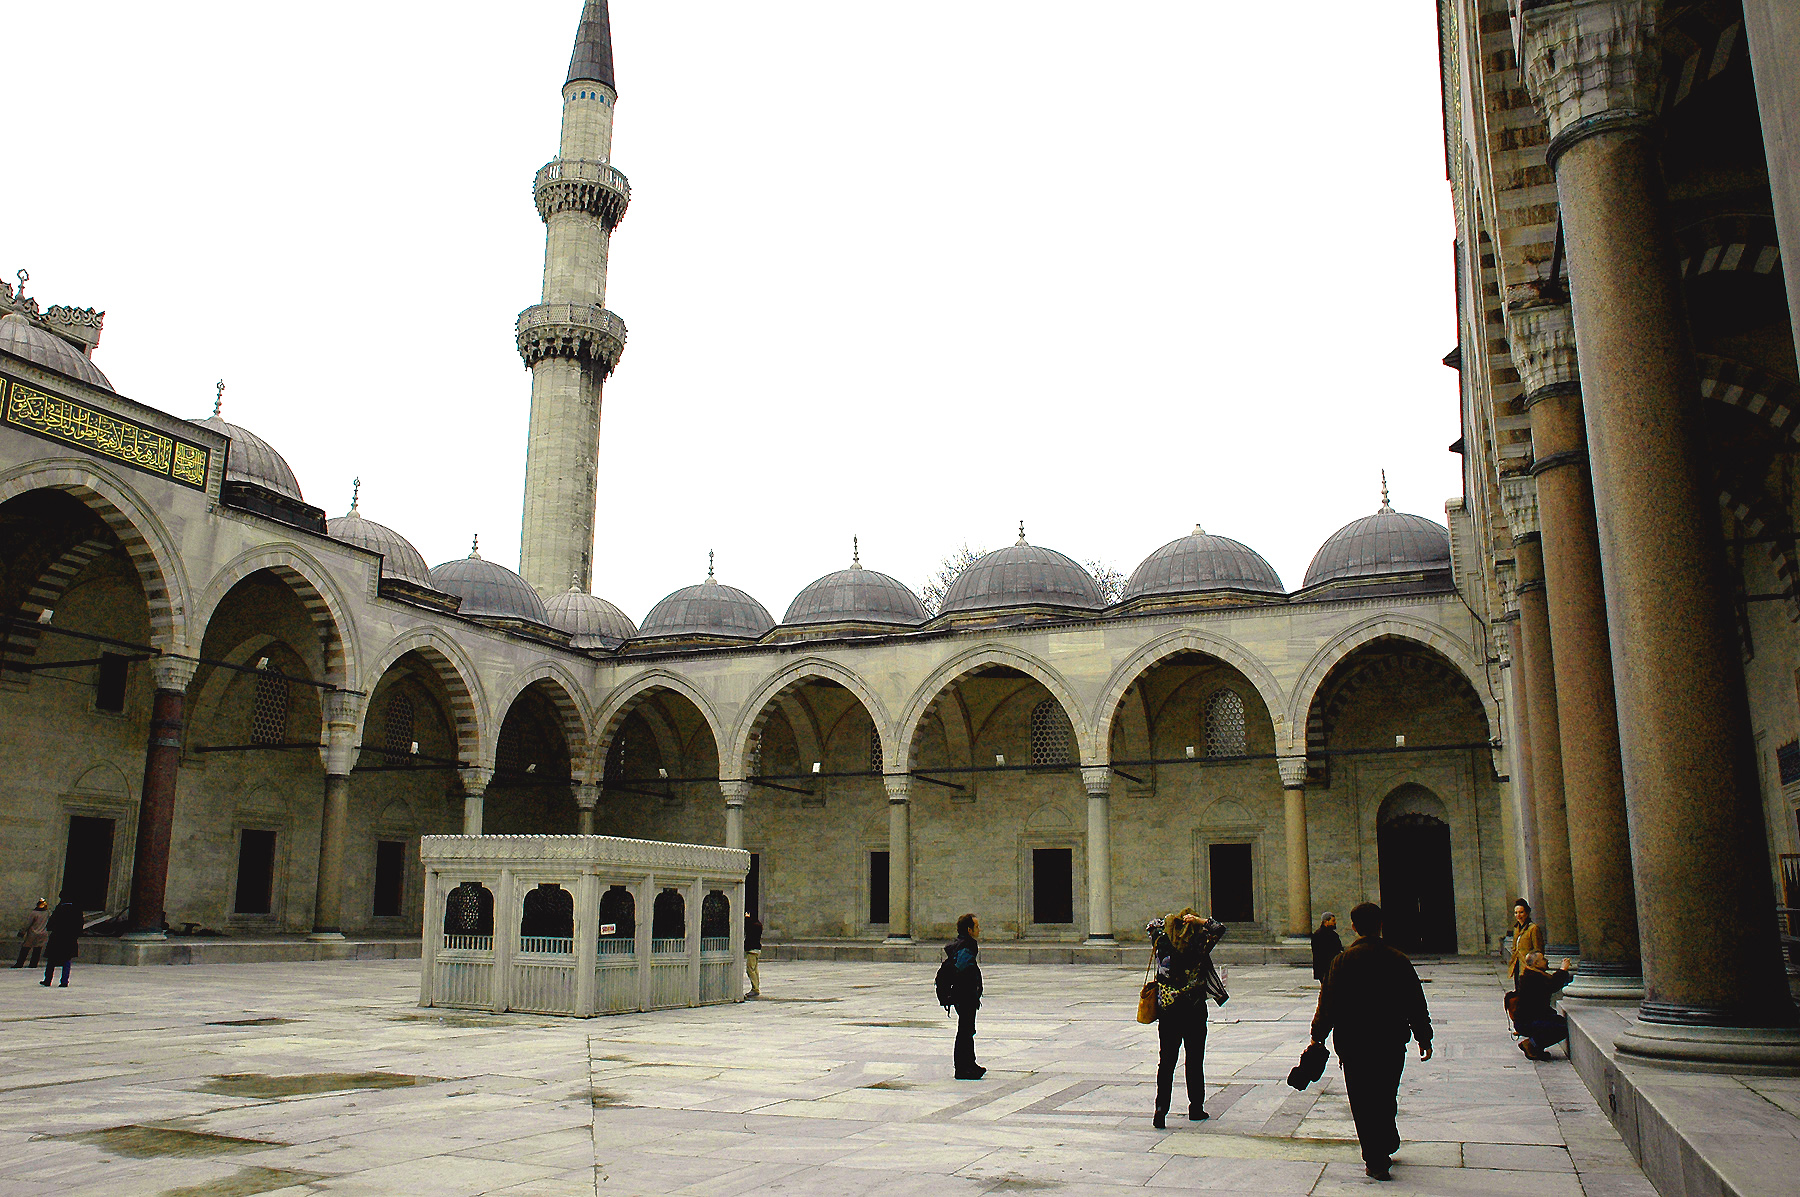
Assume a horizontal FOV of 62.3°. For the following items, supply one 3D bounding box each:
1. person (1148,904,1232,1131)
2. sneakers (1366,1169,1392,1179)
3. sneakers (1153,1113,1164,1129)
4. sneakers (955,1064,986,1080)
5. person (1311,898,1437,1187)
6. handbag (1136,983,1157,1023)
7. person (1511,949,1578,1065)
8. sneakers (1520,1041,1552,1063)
[{"bbox_3d":[1.977,2.821,10.188,0.516,1.396,1.728,-2,-17,10],"label":"person"},{"bbox_3d":[2.670,3.168,8.288,0.132,0.061,0.138,-4,-17,16],"label":"sneakers"},{"bbox_3d":[1.646,3.293,9.436,0.060,0.111,0.063,2,-5,-11],"label":"sneakers"},{"bbox_3d":[0.530,3.504,11.132,0.231,0.098,0.347,-1,-17,6],"label":"sneakers"},{"bbox_3d":[2.814,2.575,8.881,0.649,1.538,1.060,-5,-18,18],"label":"person"},{"bbox_3d":[1.604,2.556,9.575,0.125,0.257,0.351,-1,-17,6],"label":"handbag"},{"bbox_3d":[5.061,3.160,11.670,0.458,0.767,0.549,-5,-10,29],"label":"person"},{"bbox_3d":[5.009,3.509,11.687,0.210,0.168,0.521,-7,-18,24],"label":"sneakers"}]
